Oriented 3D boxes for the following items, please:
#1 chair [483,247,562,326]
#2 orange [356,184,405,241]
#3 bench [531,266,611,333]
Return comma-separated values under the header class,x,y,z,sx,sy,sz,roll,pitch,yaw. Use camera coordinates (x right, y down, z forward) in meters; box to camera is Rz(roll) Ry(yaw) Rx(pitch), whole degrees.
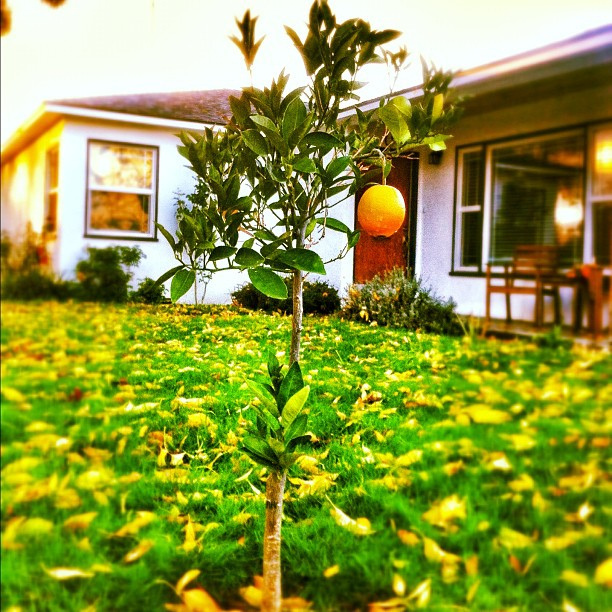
class,x,y,z,sx,sy,sz,roll,pitch,yaw
chair,1.800,-0.165,4.327,0.491,0.736,0.522,4,3,38
orange,0.198,-0.220,1.338,0.107,0.171,0.119,-1,-2,-7
bench,2.060,-0.070,3.985,0.460,0.517,0.615,-7,16,-30
